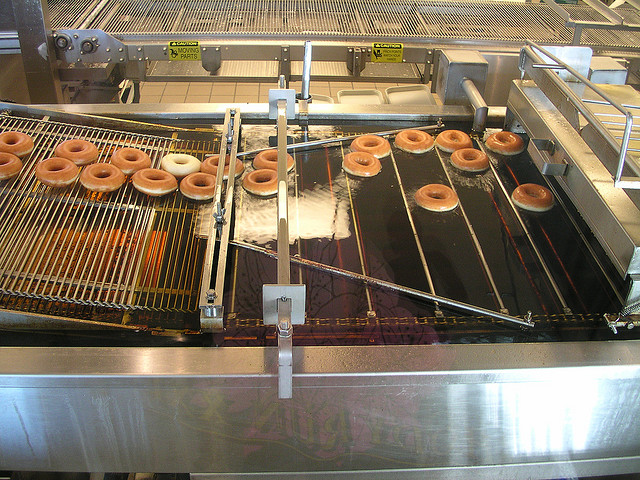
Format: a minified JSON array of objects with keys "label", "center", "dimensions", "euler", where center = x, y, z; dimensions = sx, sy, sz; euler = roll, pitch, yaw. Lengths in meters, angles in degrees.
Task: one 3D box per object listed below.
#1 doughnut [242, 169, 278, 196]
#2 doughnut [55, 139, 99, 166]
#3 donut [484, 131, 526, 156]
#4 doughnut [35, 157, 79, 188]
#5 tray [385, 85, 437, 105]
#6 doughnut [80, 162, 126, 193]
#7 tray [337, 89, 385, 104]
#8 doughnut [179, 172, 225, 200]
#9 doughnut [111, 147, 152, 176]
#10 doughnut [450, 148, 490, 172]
[{"label":"doughnut","center":[-0.273,-0.274,2.057],"dimensions":[0.174,0.166,0.094],"euler":[-2,-21,6]},{"label":"doughnut","center":[-1.136,-0.426,2.121],"dimensions":[0.148,0.145,0.052],"euler":[4,-53,-14]},{"label":"donut","center":[0.970,-0.511,2.340],"dimensions":[0.220,0.164,0.061],"euler":[2,-21,-4]},{"label":"doughnut","center":[-1.155,-0.308,1.989],"dimensions":[0.155,0.152,0.059],"euler":[8,-42,-10]},{"label":"tray","center":[0.684,-1.116,3.416],"dimensions":[0.316,0.317,0.043],"euler":[0,-45,-2]},{"label":"doughnut","center":[-1.005,-0.310,2.074],"dimensions":[0.233,0.225,0.085],"euler":[-4,-67,-9]},{"label":"tray","center":[0.292,-1.059,3.287],"dimensions":[0.214,0.215,0.041],"euler":[1,-46,-2]},{"label":"doughnut","center":[-0.535,-0.254,2.026],"dimensions":[0.197,0.166,0.087],"euler":[1,-20,-2]},{"label":"doughnut","center":[-0.882,-0.378,2.109],"dimensions":[0.154,0.152,0.059],"euler":[7,-55,-13]},{"label":"doughnut","center":[0.742,-0.408,2.237],"dimensions":[0.189,0.164,0.063],"euler":[3,-21,-7]}]
